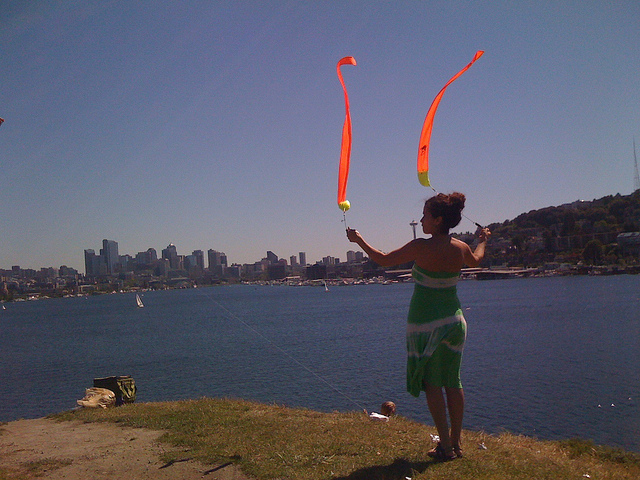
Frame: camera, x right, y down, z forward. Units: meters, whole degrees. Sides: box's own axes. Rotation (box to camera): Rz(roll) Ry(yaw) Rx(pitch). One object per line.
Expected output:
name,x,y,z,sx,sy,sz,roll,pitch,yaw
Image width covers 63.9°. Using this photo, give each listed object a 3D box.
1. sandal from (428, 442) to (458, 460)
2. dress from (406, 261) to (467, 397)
sandal,2.100,3.662,8.935,0.208,0.206,0.448,0,0,-32
dress,1.999,1.448,8.872,1.000,2.657,0.758,1,11,13
